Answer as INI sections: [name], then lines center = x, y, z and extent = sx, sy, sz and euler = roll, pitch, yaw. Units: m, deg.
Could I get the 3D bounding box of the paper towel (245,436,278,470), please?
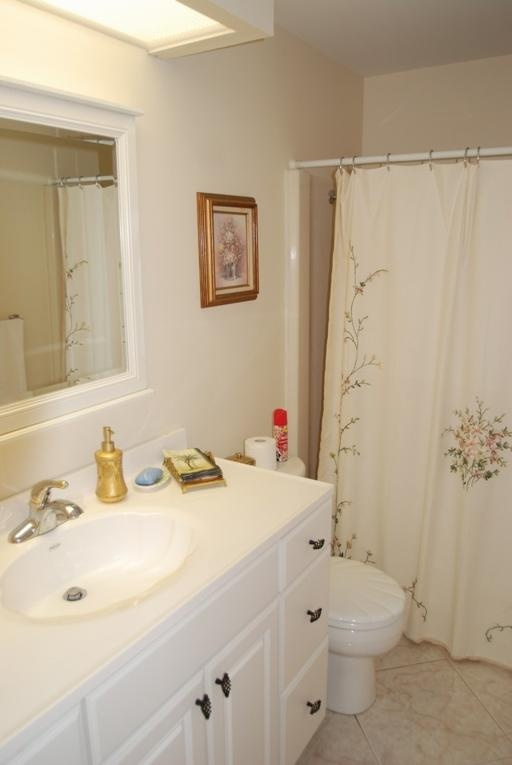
[paper towel]
center = 0.018, 0.229, 1.886
extent = 0.096, 0.109, 0.098
euler = -5, 14, -7

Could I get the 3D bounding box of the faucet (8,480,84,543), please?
[faucet]
center = -0.402, 0.232, 1.109
extent = 0.116, 0.115, 0.169
euler = 5, 11, 0

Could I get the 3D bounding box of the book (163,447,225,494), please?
[book]
center = -0.165, 0.213, 1.434
extent = 0.079, 0.045, 0.137
euler = -3, 15, -17

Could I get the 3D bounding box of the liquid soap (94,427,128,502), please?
[liquid soap]
center = -0.331, 0.183, 1.265
extent = 0.077, 0.177, 0.081
euler = 3, 10, -4

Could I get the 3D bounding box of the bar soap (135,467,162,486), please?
[bar soap]
center = -0.256, 0.232, 1.374
extent = 0.080, 0.031, 0.056
euler = -4, 14, -39

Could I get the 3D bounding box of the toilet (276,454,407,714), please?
[toilet]
center = 0.275, 0.702, 1.763
extent = 0.443, 0.682, 0.295
euler = 13, 8, -30

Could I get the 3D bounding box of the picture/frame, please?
[picture/frame]
center = -0.097, -0.414, 1.726
extent = 0.029, 0.361, 0.333
euler = 6, 15, 26
